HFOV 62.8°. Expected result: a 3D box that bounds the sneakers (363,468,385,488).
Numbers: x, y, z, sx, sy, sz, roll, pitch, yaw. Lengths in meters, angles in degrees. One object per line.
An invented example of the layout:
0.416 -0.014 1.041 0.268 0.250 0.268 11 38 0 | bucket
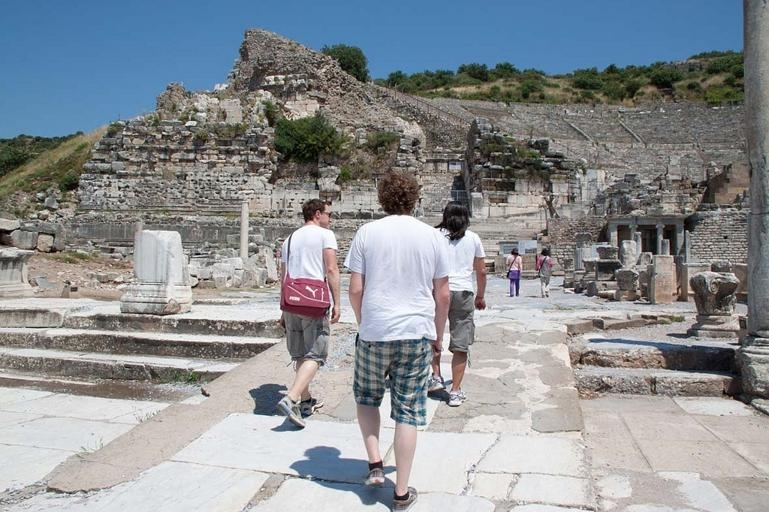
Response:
-0.102 2.263 6.451 0.194 0.231 0.176 0 1 -2 | sneakers

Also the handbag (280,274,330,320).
-0.937 0.488 7.480 0.520 0.416 0.239 4 -18 0 | handbag

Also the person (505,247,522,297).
3.440 0.419 16.828 0.328 1.216 1.739 0 1 11 | person

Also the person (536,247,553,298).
4.272 0.421 16.954 0.313 1.226 2.501 0 1 14 | person
